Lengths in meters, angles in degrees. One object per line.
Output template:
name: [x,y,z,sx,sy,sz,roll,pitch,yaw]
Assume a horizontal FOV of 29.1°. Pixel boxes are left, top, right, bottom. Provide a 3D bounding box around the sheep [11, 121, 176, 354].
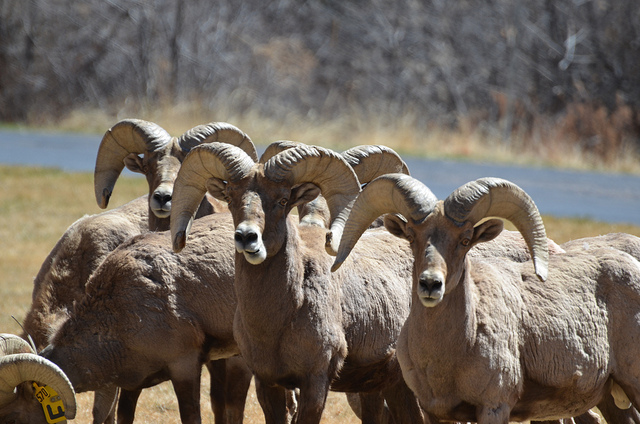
sheep: [-3.447,0.416,20.179,1.365,2.384,3.020,28,-34,-37]
